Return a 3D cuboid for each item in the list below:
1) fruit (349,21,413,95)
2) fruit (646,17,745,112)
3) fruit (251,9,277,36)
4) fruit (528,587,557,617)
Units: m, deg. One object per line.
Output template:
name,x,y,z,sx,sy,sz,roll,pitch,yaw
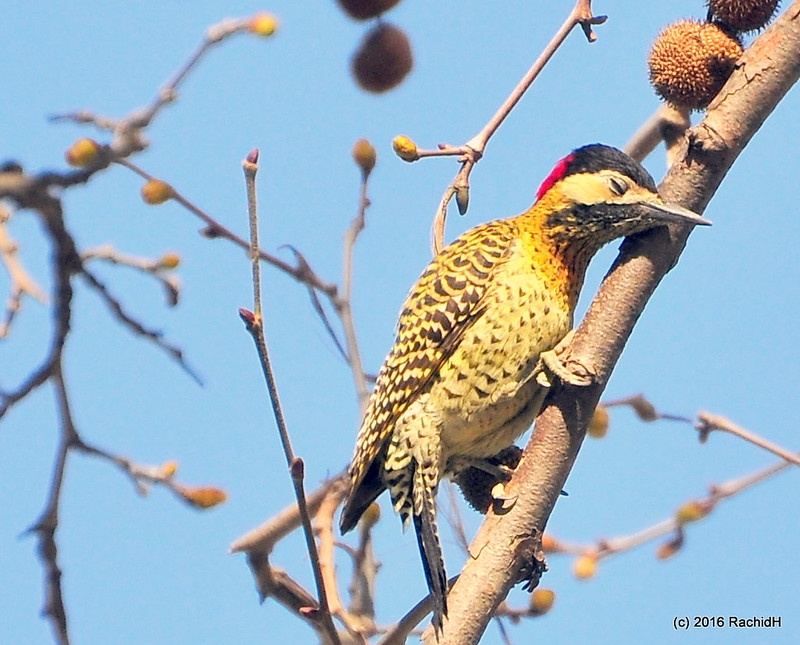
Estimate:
fruit,-0.080,-1.109,7.434,0.209,0.324,0.080,2,44,-1
fruit,1.189,-1.039,7.228,0.388,0.364,0.162,3,6,23
fruit,-0.529,-1.152,6.930,0.111,0.089,0.252,-1,7,-6
fruit,0.570,1.155,7.271,0.095,0.119,0.108,0,6,3
